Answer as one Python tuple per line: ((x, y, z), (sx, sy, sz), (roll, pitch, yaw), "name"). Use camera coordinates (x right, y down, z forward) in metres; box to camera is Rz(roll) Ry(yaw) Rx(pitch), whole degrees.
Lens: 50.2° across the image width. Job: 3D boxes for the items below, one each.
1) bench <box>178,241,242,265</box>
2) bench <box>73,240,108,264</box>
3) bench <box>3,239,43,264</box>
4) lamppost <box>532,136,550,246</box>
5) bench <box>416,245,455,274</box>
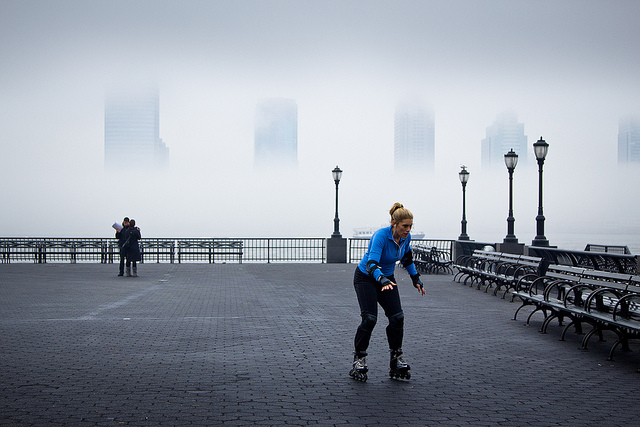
((-5.334, 1.860, 33.401), (2.954, 0.898, 1.393), (0, 4, -5), "bench")
((-11.553, 1.856, 34.174), (1.631, 0.979, 3.425), (-1, 5, -19), "bench")
((-15.094, 1.845, 34.484), (1.797, 0.851, 3.596), (-1, 5, -25), "bench")
((6.787, -0.685, 20.909), (0.470, 3.262, 0.821), (2, 4, 17), "lamppost")
((5.067, 1.771, 28.307), (0.781, 0.843, 2.187), (-8, 3, 12), "bench")
